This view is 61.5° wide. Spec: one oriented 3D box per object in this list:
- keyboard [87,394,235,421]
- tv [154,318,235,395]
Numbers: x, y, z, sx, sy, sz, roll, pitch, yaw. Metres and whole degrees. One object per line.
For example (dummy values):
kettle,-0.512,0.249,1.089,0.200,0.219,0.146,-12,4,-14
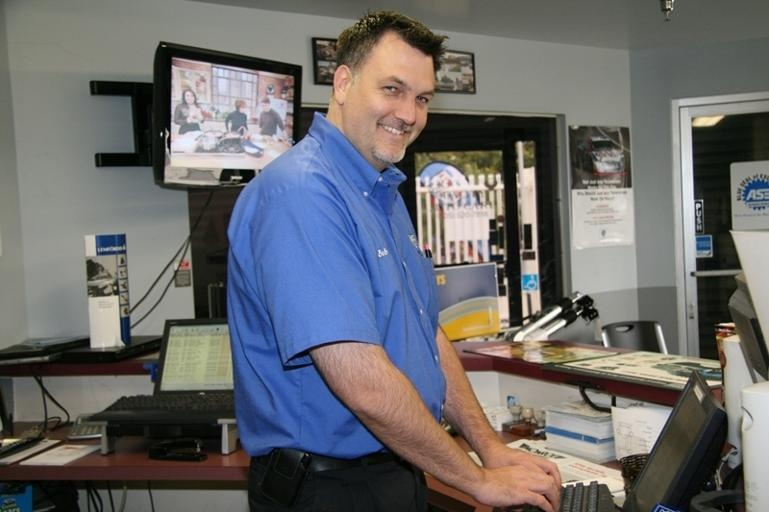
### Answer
keyboard,-1.087,0.763,3.231,0.722,0.099,0.202,-3,4,3
tv,-0.981,0.550,3.381,0.492,0.358,0.033,-7,-11,27
